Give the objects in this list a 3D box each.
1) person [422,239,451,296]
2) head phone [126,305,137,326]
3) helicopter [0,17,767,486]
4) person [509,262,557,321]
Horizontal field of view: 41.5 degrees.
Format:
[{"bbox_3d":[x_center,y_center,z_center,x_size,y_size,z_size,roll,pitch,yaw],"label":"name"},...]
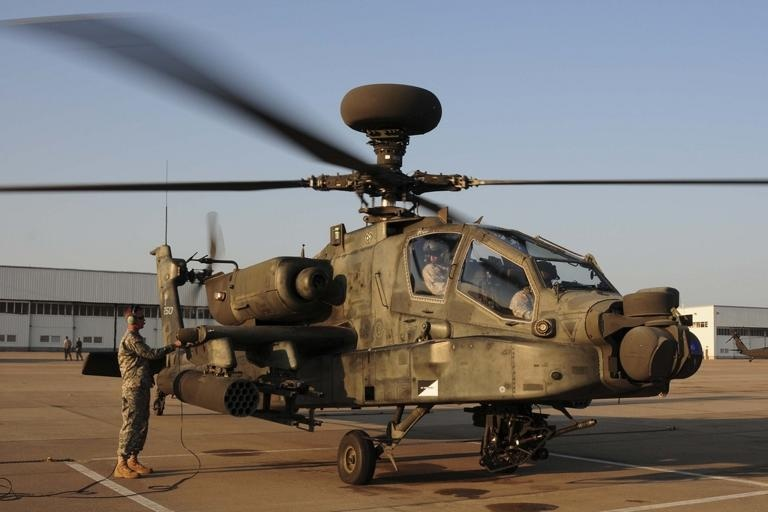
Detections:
[{"bbox_3d":[0.943,0.199,18.474,0.374,0.886,0.675,11,-14,-43],"label":"person"},{"bbox_3d":[-4.762,1.136,19.124,0.149,0.317,0.279,8,5,-33],"label":"head phone"},{"bbox_3d":[-0.189,1.150,19.327,9.791,4.010,10.327,3,-5,-43],"label":"helicopter"},{"bbox_3d":[2.539,0.591,17.536,0.910,0.961,0.294,10,-20,44],"label":"person"}]
